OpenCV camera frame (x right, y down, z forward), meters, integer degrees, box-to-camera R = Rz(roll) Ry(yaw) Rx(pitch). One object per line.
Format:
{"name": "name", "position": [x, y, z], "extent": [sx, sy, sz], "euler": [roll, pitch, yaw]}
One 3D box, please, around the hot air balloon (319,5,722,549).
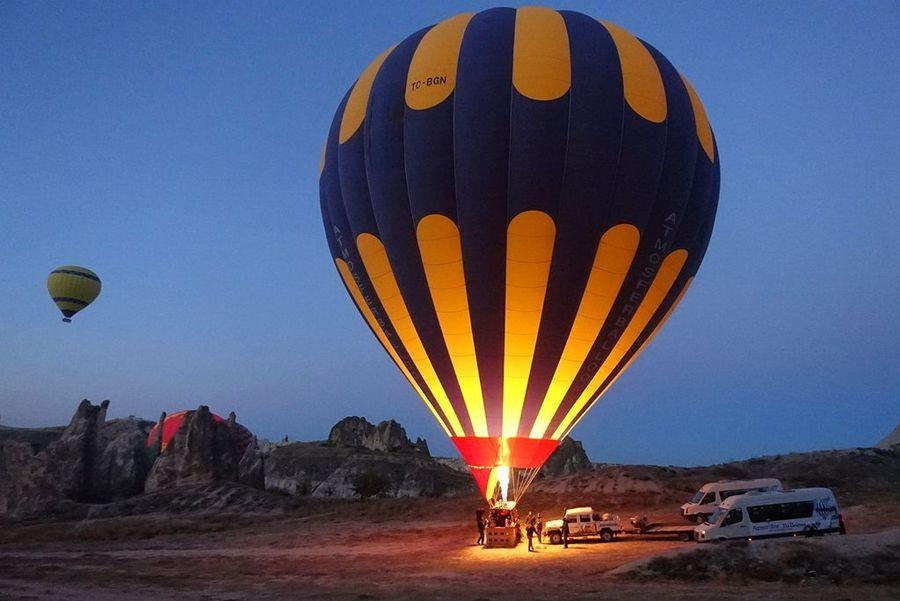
{"name": "hot air balloon", "position": [4.965, 0.050, 31.802], "extent": [14.976, 22.135, 15.422], "euler": [-5, -9, 32]}

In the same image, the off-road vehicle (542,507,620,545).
{"name": "off-road vehicle", "position": [4.881, 8.426, 27.643], "extent": [2.210, 0.987, 1.266], "euler": [0, -17, 1]}

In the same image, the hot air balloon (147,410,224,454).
{"name": "hot air balloon", "position": [-25.309, 11.629, 66.237], "extent": [3.334, 3.542, 16.909], "euler": [1, -10, -22]}
